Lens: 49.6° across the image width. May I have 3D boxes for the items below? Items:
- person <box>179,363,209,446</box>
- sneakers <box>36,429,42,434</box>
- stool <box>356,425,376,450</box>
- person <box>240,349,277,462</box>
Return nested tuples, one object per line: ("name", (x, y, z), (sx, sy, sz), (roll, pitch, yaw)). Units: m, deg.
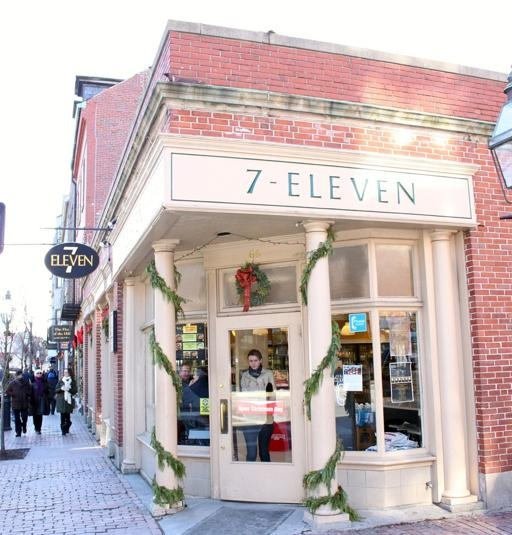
("person", (-0.836, 1.755, 7.114), (0.453, 1.021, 0.110), (-7, -9, 27))
("sneakers", (-5.735, 4.334, 14.631), (0.096, 0.108, 0.185), (2, 0, -7))
("stool", (1.227, 1.908, 6.243), (0.218, 0.355, 0.236), (-1, -11, 3))
("person", (0.013, 1.645, 6.659), (0.447, 1.298, 0.125), (-7, -9, 32))
